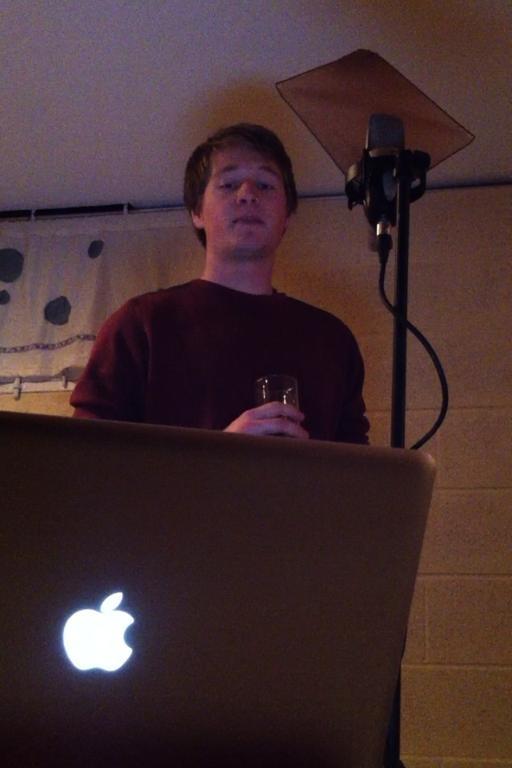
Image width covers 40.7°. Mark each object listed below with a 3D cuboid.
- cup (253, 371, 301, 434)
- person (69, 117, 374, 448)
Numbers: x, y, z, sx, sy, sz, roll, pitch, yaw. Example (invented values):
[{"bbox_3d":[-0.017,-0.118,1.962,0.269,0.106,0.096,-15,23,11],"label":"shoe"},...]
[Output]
[{"bbox_3d":[0.030,0.013,0.959,0.047,0.057,0.050,0,-10,0],"label":"cup"},{"bbox_3d":[-0.028,-0.105,1.458,0.655,0.968,0.315,6,-19,-20],"label":"person"}]
